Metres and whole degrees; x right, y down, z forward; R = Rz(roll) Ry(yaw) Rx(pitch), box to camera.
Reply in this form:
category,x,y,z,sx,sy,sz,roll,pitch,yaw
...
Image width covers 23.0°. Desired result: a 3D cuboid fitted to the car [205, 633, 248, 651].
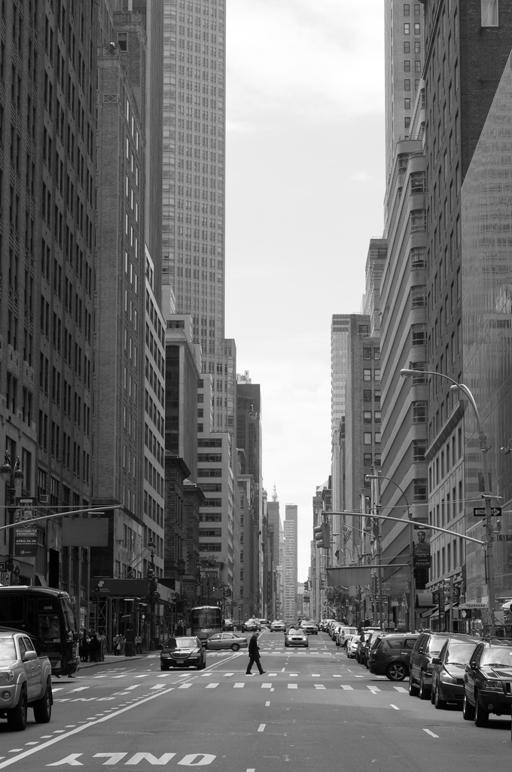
category,x,y,z,sx,sy,sz,roll,pitch,yaw
car,-2.048,17.900,88.339,2.615,1.594,4.305,-4,-17,2

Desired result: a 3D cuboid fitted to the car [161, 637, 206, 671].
category,x,y,z,sx,sy,sz,roll,pitch,yaw
car,-3.002,10.810,51.373,1.685,1.424,2.379,-1,-16,-7
